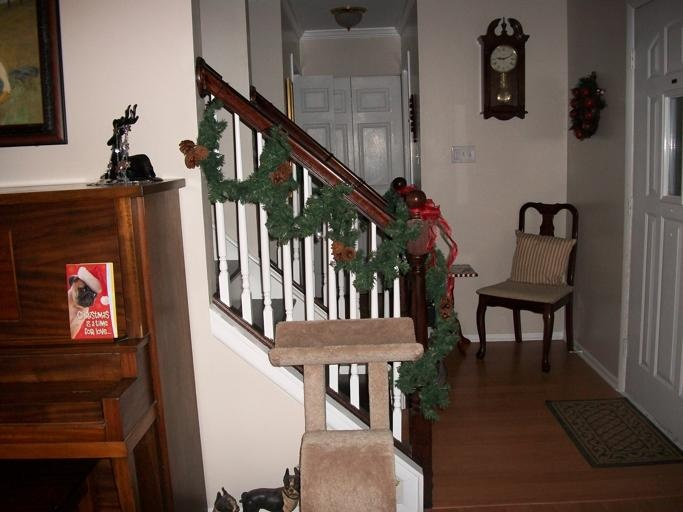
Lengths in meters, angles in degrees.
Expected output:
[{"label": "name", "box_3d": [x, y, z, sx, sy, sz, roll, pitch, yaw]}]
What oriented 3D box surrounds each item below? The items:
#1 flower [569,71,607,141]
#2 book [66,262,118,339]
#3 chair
[{"label": "flower", "box_3d": [1.772, -1.084, 4.097, 0.191, 0.481, 0.312, -1, 14, 7]}, {"label": "book", "box_3d": [-0.968, 0.176, 2.202, 0.189, 0.288, 0.063, -2, 13, 4]}, {"label": "chair", "box_3d": [1.492, 0.188, 4.530, 0.730, 1.171, 0.884, 4, 15, 26]}]
